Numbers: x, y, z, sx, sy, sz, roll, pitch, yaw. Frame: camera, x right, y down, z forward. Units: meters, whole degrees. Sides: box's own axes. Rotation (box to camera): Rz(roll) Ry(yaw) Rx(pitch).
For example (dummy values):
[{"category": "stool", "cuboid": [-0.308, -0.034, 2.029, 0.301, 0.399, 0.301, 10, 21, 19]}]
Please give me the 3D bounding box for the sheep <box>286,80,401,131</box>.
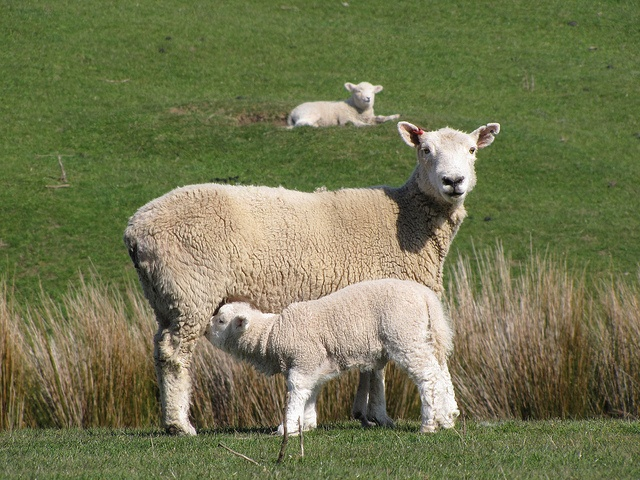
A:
[{"category": "sheep", "cuboid": [0.483, -3.973, 52.209, 2.495, 1.125, 1.687, -2, 2, 17]}]
